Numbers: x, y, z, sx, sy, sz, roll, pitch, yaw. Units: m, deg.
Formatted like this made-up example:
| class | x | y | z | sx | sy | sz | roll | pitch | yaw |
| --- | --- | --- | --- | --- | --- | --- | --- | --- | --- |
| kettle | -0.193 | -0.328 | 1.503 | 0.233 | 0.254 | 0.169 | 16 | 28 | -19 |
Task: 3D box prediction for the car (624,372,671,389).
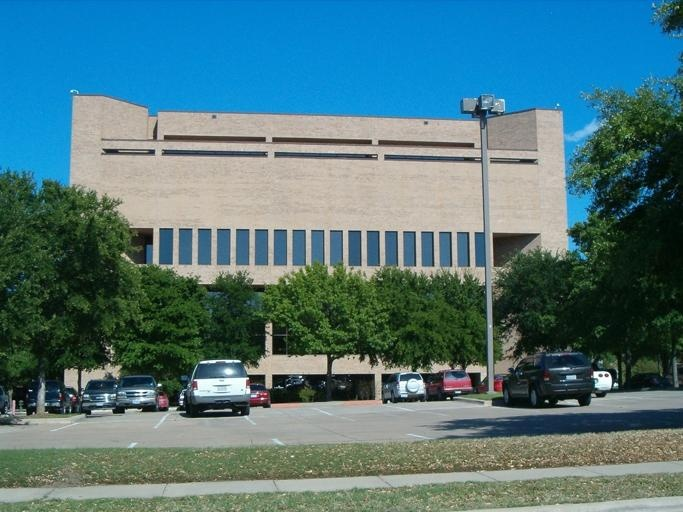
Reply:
| class | x | y | z | sx | sy | sz | roll | pitch | yaw |
| --- | --- | --- | --- | --- | --- | --- | --- | --- | --- |
| car | 24.120 | 9.584 | 104.977 | 2.893 | 1.518 | 4.581 | 0 | -11 | -9 |
